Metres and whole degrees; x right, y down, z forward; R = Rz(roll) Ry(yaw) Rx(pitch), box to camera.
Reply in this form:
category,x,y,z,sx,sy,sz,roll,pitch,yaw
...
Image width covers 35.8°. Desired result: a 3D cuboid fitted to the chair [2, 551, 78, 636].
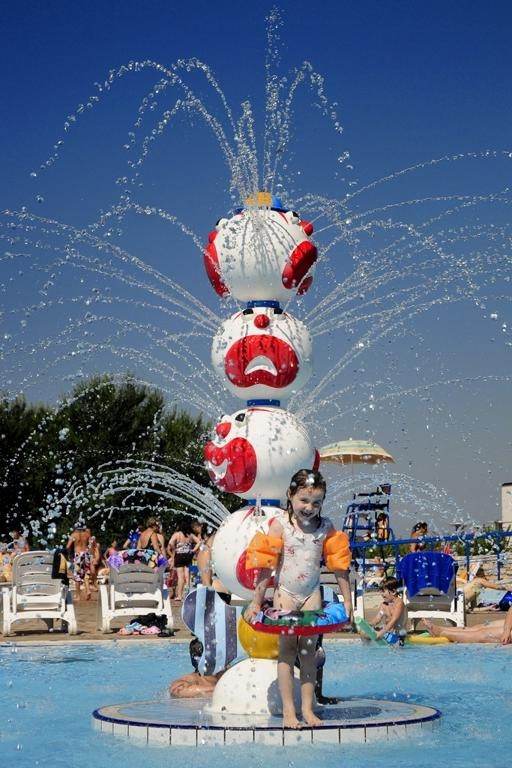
category,x,y,z,sx,sy,sz,roll,pitch,yaw
chair,-2.866,2.764,10.495,0.910,1.131,1.703,1,-7,-17

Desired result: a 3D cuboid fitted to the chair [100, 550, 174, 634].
category,x,y,z,sx,sy,sz,roll,pitch,yaw
chair,-1.604,2.891,10.638,0.968,0.932,0.572,0,-7,-11

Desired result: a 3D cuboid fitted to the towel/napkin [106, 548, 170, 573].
category,x,y,z,sx,sy,sz,roll,pitch,yaw
towel/napkin,-1.713,2.524,11.371,0.514,0.176,0.449,5,0,-34

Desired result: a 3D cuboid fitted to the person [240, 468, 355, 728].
category,x,y,z,sx,sy,sz,roll,pitch,yaw
person,0.220,1.076,4.043,0.518,1.263,0.523,-2,-7,5

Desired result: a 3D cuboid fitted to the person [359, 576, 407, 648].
category,x,y,z,sx,sy,sz,roll,pitch,yaw
person,1.531,2.819,9.599,0.552,0.828,0.547,-10,-8,40

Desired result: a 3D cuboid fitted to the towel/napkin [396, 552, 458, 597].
category,x,y,z,sx,sy,sz,roll,pitch,yaw
towel/napkin,2.215,2.501,10.292,0.746,0.603,0.306,-3,-7,16
